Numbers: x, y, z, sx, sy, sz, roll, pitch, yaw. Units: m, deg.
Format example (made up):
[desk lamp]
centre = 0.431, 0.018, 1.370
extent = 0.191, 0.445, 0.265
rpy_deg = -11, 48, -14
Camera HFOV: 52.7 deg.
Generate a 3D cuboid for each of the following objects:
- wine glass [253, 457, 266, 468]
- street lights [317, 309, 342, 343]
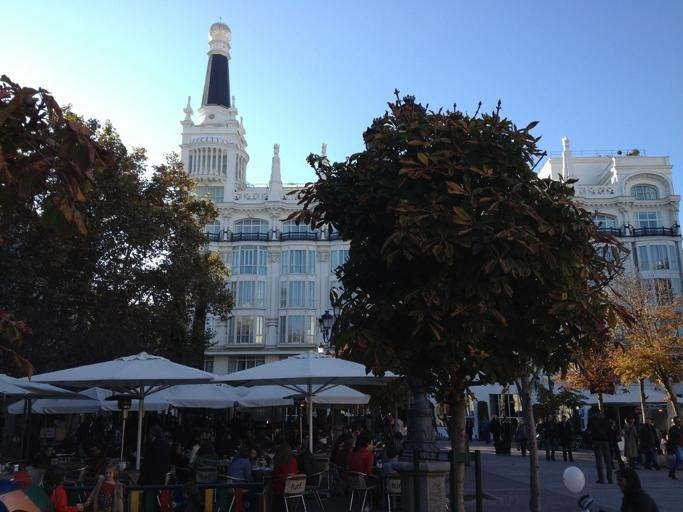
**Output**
[wine glass]
centre = -1.958, 4.970, 16.571
extent = 0.244, 0.280, 0.250
rpy_deg = 2, -28, -8
[street lights]
centre = -0.434, 2.012, 20.912
extent = 0.675, 1.063, 0.701
rpy_deg = 3, -13, -8
